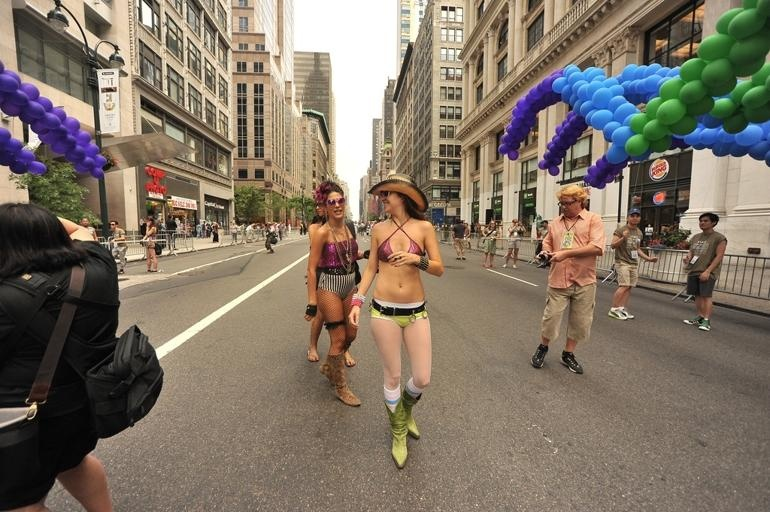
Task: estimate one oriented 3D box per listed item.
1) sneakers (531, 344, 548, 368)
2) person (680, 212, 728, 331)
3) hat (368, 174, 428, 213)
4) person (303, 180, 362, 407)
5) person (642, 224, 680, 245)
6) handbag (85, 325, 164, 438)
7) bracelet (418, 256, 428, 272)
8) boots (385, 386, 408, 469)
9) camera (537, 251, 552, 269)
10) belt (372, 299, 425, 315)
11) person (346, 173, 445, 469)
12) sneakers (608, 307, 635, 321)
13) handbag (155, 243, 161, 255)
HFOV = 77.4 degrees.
[{"bbox_3d":[2.693,1.656,8.381,0.176,0.258,0.546,15,29,17],"label":"sneakers"},{"bbox_3d":[6.694,0.287,10.181,0.701,2.320,0.986,4,8,33],"label":"person"},{"bbox_3d":[0.265,-0.902,6.865,0.588,0.221,0.515,29,-24,-26],"label":"hat"},{"bbox_3d":[-0.699,0.549,7.681,1.228,3.369,1.029,-2,13,-10],"label":"person"},{"bbox_3d":[10.736,-0.853,18.771,0.754,0.603,0.809,1,13,-4],"label":"person"},{"bbox_3d":[-3.138,1.461,5.790,0.511,0.988,0.944,8,24,19],"label":"handbag"},{"bbox_3d":[0.523,0.104,6.722,0.170,0.148,0.150,1,0,-5],"label":"bracelet"},{"bbox_3d":[0.174,2.308,6.578,0.246,0.769,0.618,-7,28,7],"label":"boots"},{"bbox_3d":[2.700,0.061,8.223,0.145,0.203,0.459,-6,0,10],"label":"camera"},{"bbox_3d":[0.180,0.708,6.692,0.743,0.234,0.132,0,7,0],"label":"belt"},{"bbox_3d":[0.246,0.775,6.852,0.934,3.792,1.000,-7,9,-44],"label":"person"},{"bbox_3d":[5.210,1.273,10.741,0.278,0.162,0.361,-6,10,-41],"label":"sneakers"},{"bbox_3d":[-9.691,-0.305,20.688,0.139,0.449,0.661,-4,8,-30],"label":"handbag"}]
